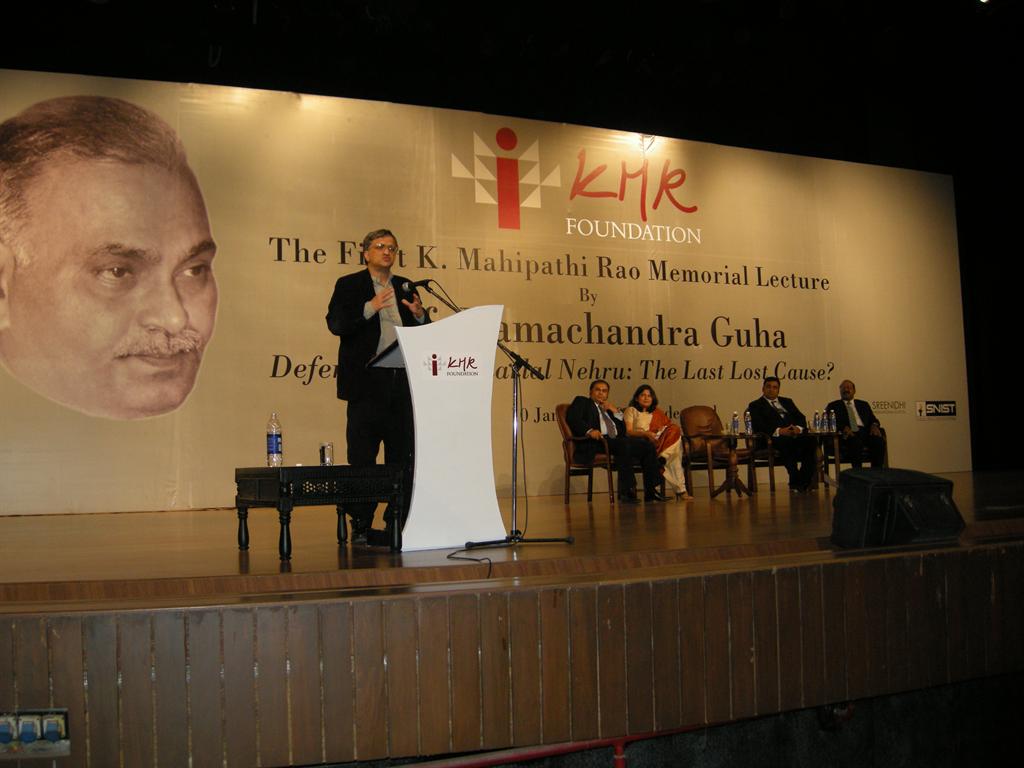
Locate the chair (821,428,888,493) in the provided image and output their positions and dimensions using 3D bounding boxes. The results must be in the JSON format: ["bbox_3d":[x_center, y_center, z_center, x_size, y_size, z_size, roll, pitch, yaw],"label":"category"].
[{"bbox_3d":[2.772,0.591,8.656,0.405,0.705,0.439,2,-8,-13],"label":"chair"}]

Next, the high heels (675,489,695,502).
[{"bbox_3d":[1.500,0.971,9.294,0.058,0.087,0.201,2,-15,-19],"label":"high heels"}]

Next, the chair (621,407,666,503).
[{"bbox_3d":[1.165,0.628,9.385,0.374,0.689,0.721,3,11,7],"label":"chair"}]

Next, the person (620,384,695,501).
[{"bbox_3d":[1.293,0.555,9.696,0.496,1.235,0.756,9,-30,-19],"label":"person"}]

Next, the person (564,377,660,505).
[{"bbox_3d":[0.879,0.488,9.510,0.484,1.305,0.736,18,-30,-41],"label":"person"}]

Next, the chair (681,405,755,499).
[{"bbox_3d":[1.895,0.597,9.815,0.519,0.887,0.618,-4,-10,-4],"label":"chair"}]

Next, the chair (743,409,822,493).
[{"bbox_3d":[2.583,0.454,10.095,0.459,1.142,0.542,-8,-17,-8],"label":"chair"}]

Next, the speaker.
[{"bbox_3d":[2.101,0.705,5.694,0.597,0.464,0.617,1,4,-33],"label":"speaker"}]

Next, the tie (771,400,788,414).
[{"bbox_3d":[2.577,0.204,10.324,0.108,0.028,0.108,18,22,-34],"label":"tie"}]

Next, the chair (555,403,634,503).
[{"bbox_3d":[0.709,0.587,9.455,0.561,0.840,0.554,-3,3,10],"label":"chair"}]
